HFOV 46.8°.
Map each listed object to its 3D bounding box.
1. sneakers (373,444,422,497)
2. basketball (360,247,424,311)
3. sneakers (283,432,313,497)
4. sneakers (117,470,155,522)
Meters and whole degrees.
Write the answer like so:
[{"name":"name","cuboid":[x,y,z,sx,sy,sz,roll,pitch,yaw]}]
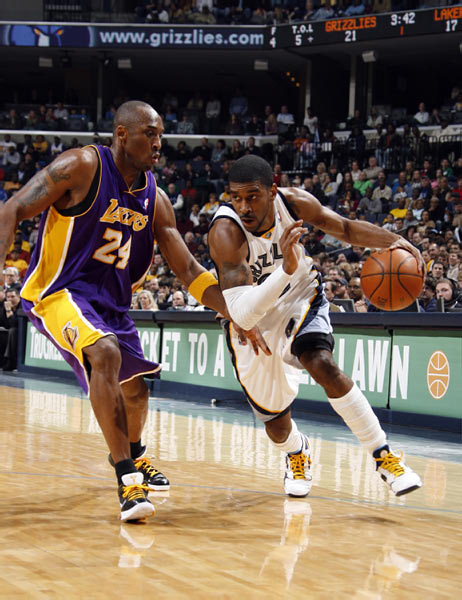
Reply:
[{"name":"sneakers","cuboid":[0.671,0.712,2.304,0.110,0.126,0.302,-33,8,-1]},{"name":"basketball","cuboid":[0.839,-0.116,2.868,0.372,0.373,0.323,2,1,5]},{"name":"sneakers","cuboid":[0.316,0.814,2.548,0.098,0.108,0.265,-3,21,3]},{"name":"sneakers","cuboid":[-0.335,0.693,1.881,0.108,0.134,0.149,0,5,-17]}]
